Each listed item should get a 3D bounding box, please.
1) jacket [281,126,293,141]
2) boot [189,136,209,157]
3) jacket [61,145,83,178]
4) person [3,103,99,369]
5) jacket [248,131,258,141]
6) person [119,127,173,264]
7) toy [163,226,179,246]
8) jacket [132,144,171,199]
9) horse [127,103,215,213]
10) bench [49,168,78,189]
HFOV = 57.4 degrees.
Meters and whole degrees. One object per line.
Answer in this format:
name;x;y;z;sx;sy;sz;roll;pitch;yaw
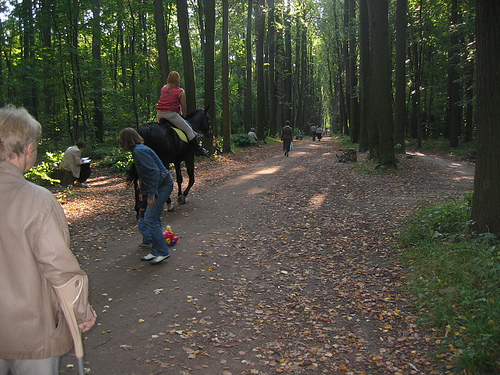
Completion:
jacket;2.015;-3.025;25.207;0.878;0.980;0.520;1;3;2
boot;-1.416;-1.146;12.597;0.397;0.576;0.536;-4;10;1
jacket;-5.995;-0.925;15.475;0.774;1.063;0.709;13;14;42
person;-2.175;0.534;4.616;0.785;2.742;0.722;0;11;21
jacket;0.132;-3.563;31.514;0.411;0.564;0.953;-2;11;9
person;-1.892;0.153;8.514;0.702;2.534;0.657;-2;10;11
toy;-1.642;1.014;9.476;0.262;0.345;0.417;-5;11;-8
jacket;-1.818;-0.322;8.384;0.567;0.961;0.527;-6;10;-13
horse;-2.048;-0.884;12.566;1.047;2.712;3.782;6;13;25
bench;-6.181;-0.369;15.004;0.831;0.609;0.549;1;-1;-5
